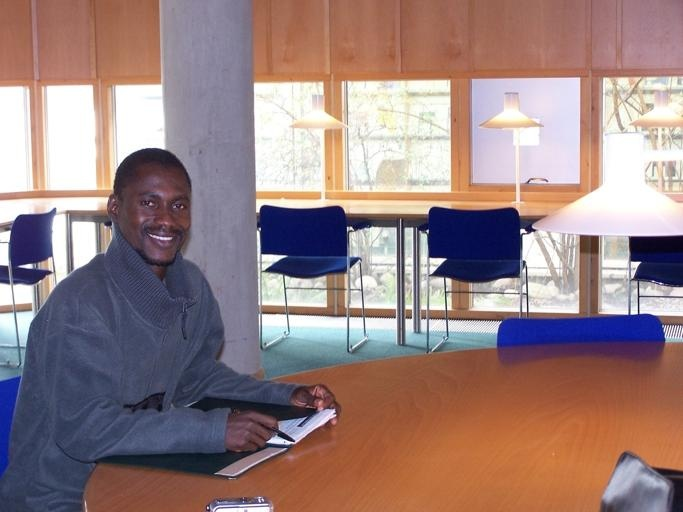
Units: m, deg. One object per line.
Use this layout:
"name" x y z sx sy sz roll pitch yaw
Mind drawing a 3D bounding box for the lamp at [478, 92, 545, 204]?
"lamp" 1.385 -0.866 4.968 0.447 0.890 0.792 5 14 18
